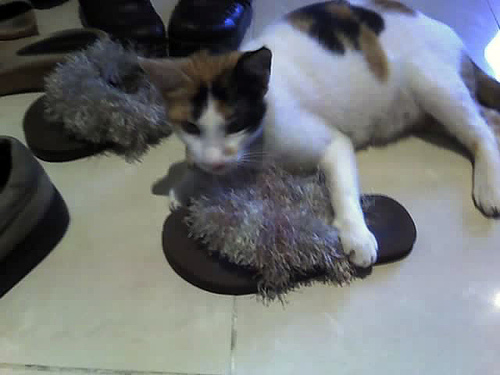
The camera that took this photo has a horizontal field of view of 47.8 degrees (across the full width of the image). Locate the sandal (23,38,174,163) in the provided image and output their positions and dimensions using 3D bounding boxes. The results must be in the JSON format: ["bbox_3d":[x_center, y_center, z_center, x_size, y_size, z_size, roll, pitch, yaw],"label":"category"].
[{"bbox_3d":[-0.362,-0.153,1.319,0.290,0.125,0.287,-23,72,-5],"label":"sandal"}]
